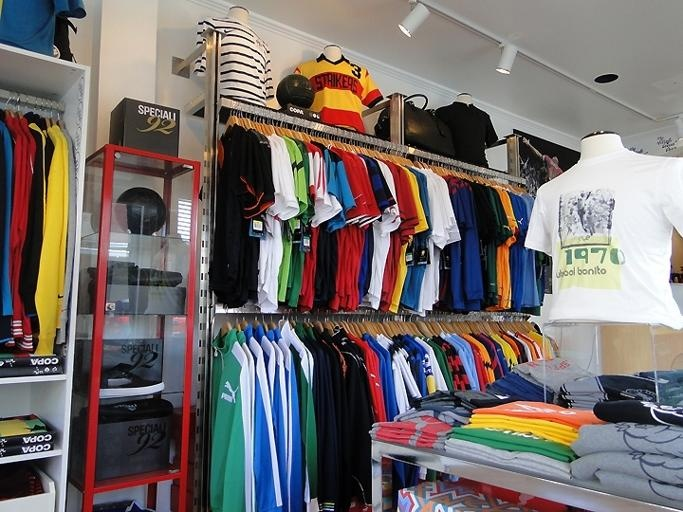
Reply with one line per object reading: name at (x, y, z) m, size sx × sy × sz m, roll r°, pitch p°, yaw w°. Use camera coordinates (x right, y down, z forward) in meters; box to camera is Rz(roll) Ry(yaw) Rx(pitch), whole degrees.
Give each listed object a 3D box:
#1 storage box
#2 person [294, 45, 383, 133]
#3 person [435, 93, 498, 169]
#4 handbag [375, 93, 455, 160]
storage box at (-1.124, -0.683, 2.964) m, size 0.331 × 0.273 × 0.336 m, roll 8°, pitch -14°, yaw -35°
person at (-0.046, -1.284, 4.041) m, size 0.701 × 0.749 × 0.274 m, roll -2°, pitch -5°, yaw -12°
person at (1.111, -1.071, 4.632) m, size 0.665 × 0.888 × 0.277 m, roll 4°, pitch -20°, yaw 4°
handbag at (0.569, -1.011, 4.096) m, size 0.701 × 0.531 × 0.291 m, roll 12°, pitch -21°, yaw -38°
